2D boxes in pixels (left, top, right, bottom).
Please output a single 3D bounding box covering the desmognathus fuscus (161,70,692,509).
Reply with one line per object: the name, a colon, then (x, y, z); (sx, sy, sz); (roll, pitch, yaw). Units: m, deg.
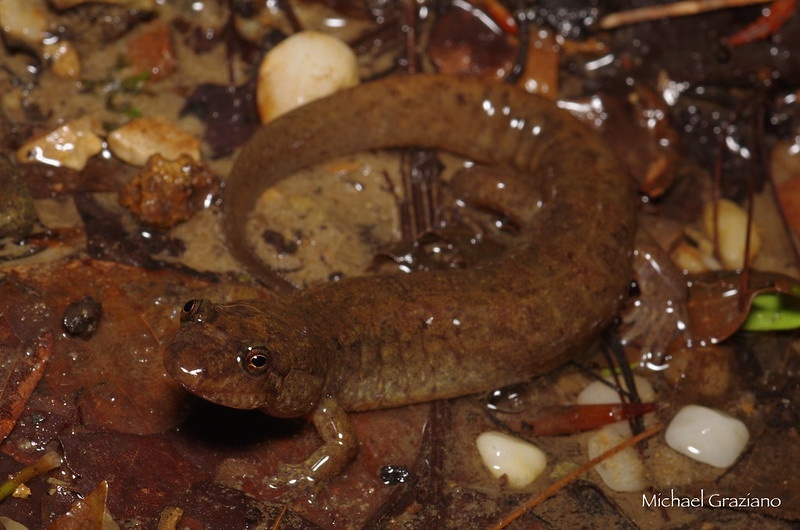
desmognathus fuscus: (0.071, -0.192, 6.239); (3.359, 1.292, 2.415); (-34, 64, -6)
